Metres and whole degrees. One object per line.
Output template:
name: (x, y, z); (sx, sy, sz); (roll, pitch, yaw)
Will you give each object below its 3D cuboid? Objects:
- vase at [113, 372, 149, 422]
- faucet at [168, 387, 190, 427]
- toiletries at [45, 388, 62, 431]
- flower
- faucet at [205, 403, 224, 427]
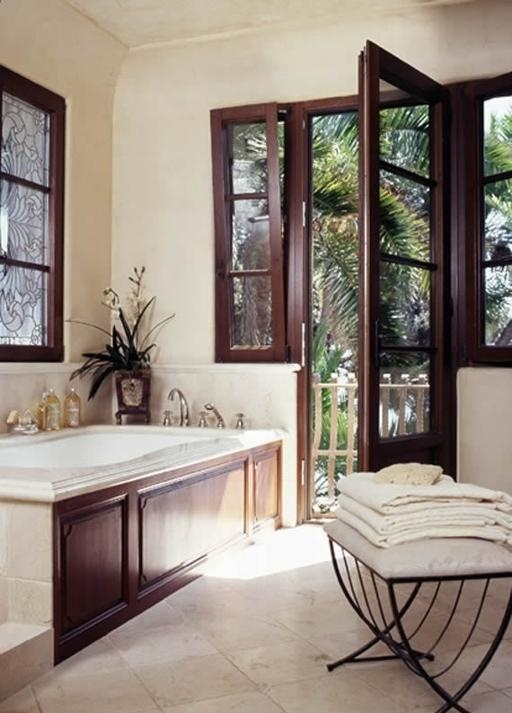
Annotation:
vase: (-0.723, 0.233, 3.571); (0.199, 0.316, 0.242); (0, -3, -10)
faucet: (-0.438, 0.287, 3.459); (0.119, 0.210, 0.374); (0, -3, -7)
toiletries: (-1.043, 0.275, 3.102); (0.071, 0.200, 0.159); (1, -3, -20)
flower: (-0.757, -0.147, 3.585); (0.517, 0.812, 0.467); (0, -3, 6)
faucet: (-0.229, 0.328, 3.374); (0.108, 0.132, 0.326); (0, -3, -4)
